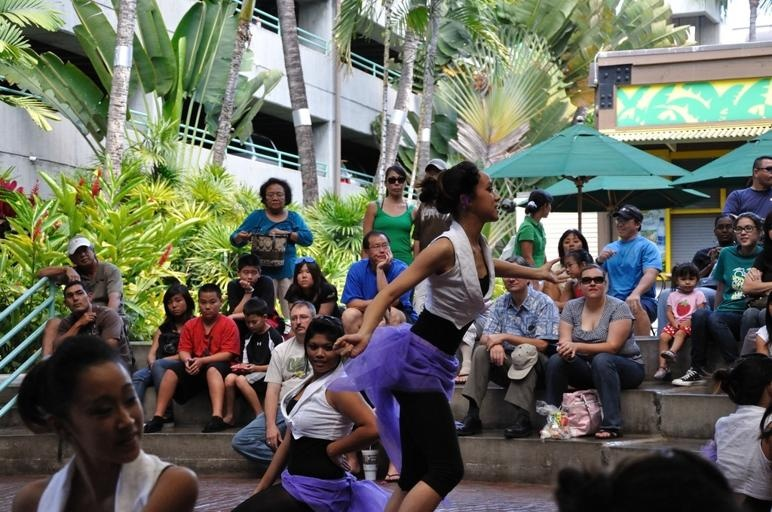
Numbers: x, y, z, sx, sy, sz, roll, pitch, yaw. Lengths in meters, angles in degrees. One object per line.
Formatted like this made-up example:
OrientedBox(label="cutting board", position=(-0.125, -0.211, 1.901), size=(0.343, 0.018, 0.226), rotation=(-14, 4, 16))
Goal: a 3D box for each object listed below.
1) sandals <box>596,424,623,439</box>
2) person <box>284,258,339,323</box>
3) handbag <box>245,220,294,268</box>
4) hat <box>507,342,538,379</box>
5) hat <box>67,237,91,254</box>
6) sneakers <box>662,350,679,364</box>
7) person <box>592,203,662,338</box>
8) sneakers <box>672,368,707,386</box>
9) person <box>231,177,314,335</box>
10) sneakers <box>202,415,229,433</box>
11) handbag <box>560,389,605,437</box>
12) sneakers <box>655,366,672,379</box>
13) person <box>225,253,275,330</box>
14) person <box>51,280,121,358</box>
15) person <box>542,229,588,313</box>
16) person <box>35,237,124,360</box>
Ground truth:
OrientedBox(label="sandals", position=(2.225, 1.750, 8.041), size=(0.245, 0.082, 0.117), rotation=(3, -5, -7))
OrientedBox(label="person", position=(-0.875, 0.420, 9.667), size=(0.703, 0.739, 0.670), rotation=(-2, 0, -17))
OrientedBox(label="handbag", position=(-1.518, -0.088, 10.284), size=(0.531, 0.410, 0.374), rotation=(-1, 1, -2))
OrientedBox(label="hat", position=(1.423, 1.094, 8.433), size=(0.272, 0.385, 0.140), rotation=(1, -44, 41))
OrientedBox(label="hat", position=(-3.665, -0.128, 9.627), size=(0.298, 0.220, 0.196), rotation=(3, 2, 27))
OrientedBox(label="sneakers", position=(3.139, 1.098, 8.980), size=(0.124, 0.101, 0.214), rotation=(30, -19, 10))
OrientedBox(label="person", position=(3.029, 0.322, 10.345), size=(0.980, 1.911, 1.209), rotation=(-1, 1, 23))
OrientedBox(label="sneakers", position=(3.255, 1.317, 8.680), size=(0.419, 0.153, 0.142), rotation=(2, -3, -1))
OrientedBox(label="person", position=(-1.444, 0.057, 10.514), size=(1.021, 1.990, 0.697), rotation=(-4, 13, -20))
OrientedBox(label="sneakers", position=(-1.862, 1.854, 8.950), size=(0.315, 0.162, 0.179), rotation=(1, 2, -27))
OrientedBox(label="handbag", position=(2.034, 1.639, 8.350), size=(0.298, 0.478, 0.584), rotation=(-14, -10, 40))
OrientedBox(label="sneakers", position=(3.119, 1.320, 9.069), size=(0.197, 0.128, 0.108), rotation=(2, 2, -2))
OrientedBox(label="person", position=(-1.690, 0.309, 10.068), size=(0.858, 1.030, 0.781), rotation=(0, -3, -6))
OrientedBox(label="person", position=(-3.360, 0.780, 9.105), size=(0.985, 0.927, 0.982), rotation=(2, -14, -17))
OrientedBox(label="person", position=(2.293, 0.174, 10.013), size=(0.834, 0.950, 0.975), rotation=(-3, 7, 13))
OrientedBox(label="person", position=(-3.639, 0.522, 9.552), size=(1.155, 1.397, 1.080), rotation=(-8, 7, -17))
